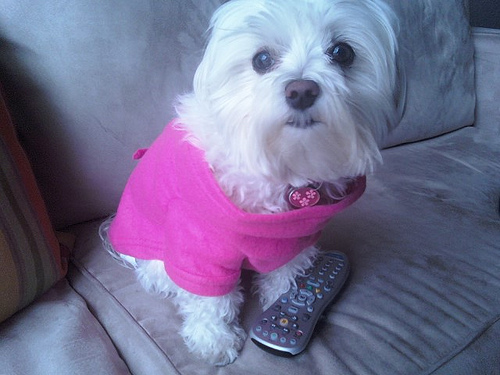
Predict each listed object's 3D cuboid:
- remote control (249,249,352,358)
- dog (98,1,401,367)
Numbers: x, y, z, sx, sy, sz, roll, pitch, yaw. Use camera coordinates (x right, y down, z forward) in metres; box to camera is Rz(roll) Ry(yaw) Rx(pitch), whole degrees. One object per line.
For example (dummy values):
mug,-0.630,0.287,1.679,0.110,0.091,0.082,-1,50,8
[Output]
remote control,0.120,0.279,0.935,0.122,0.074,0.343,13,37,29
dog,-0.018,-0.049,1.146,0.685,0.877,0.652,-25,40,-34
